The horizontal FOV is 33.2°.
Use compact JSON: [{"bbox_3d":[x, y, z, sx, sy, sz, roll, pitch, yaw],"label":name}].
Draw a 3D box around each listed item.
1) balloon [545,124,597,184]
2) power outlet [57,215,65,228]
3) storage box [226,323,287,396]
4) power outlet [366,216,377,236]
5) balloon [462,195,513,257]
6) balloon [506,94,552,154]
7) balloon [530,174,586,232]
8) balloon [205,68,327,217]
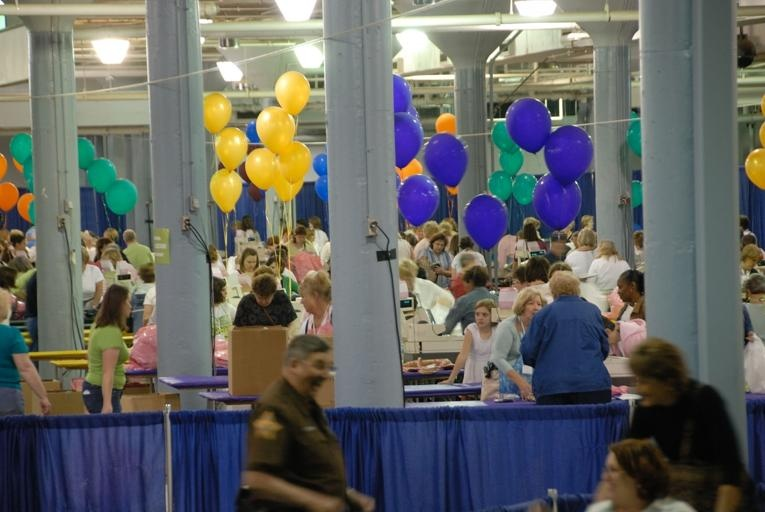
[{"bbox_3d":[2.298,-1.194,15.591,0.496,0.829,0.589,3,16,9],"label":"balloon"},{"bbox_3d":[-4.046,-0.423,16.240,0.081,0.154,0.125,-1,0,34],"label":"power outlet"},{"bbox_3d":[-1.264,1.023,13.014,0.830,1.146,0.521,1,0,-8],"label":"storage box"},{"bbox_3d":[-0.089,-0.258,12.291,0.103,0.265,0.123,1,3,4],"label":"power outlet"},{"bbox_3d":[1.371,-0.428,16.900,0.511,0.831,0.617,-1,-13,7],"label":"balloon"},{"bbox_3d":[1.798,-1.613,15.697,0.421,0.671,0.593,-3,-1,-41],"label":"balloon"},{"bbox_3d":[2.221,-0.655,16.237,0.501,0.885,0.619,-2,3,3],"label":"balloon"},{"bbox_3d":[-1.700,-1.550,15.909,1.611,2.236,1.501,-5,-7,33],"label":"balloon"}]
